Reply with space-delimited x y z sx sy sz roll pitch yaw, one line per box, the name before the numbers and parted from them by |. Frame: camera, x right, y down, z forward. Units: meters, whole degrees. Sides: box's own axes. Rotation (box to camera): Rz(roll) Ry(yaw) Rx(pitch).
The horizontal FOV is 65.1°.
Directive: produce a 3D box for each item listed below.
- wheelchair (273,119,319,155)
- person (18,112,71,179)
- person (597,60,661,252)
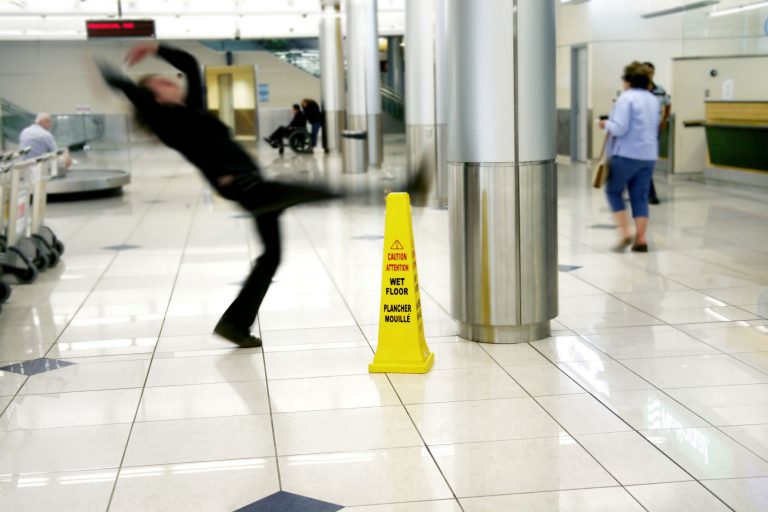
wheelchair | -2.950 -3.937 19.059 1.506 1.358 1.277 5 14 16
person | -5.518 -1.736 9.491 0.578 0.964 0.609 26 28 3
person | 2.622 -1.035 6.490 0.608 1.943 0.599 6 21 21
